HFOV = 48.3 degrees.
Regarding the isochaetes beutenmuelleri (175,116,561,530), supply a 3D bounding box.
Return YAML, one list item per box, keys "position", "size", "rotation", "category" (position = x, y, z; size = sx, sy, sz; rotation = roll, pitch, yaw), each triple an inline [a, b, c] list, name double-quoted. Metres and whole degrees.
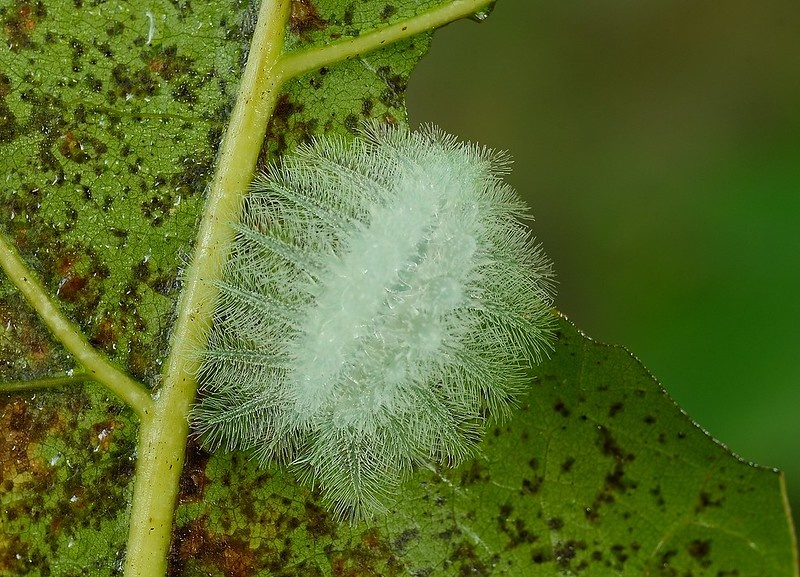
- position: [-0.139, 0.169, 4.980]
  size: [1.883, 2.137, 0.546]
  rotation: [-1, -13, 0]
  category: "isochaetes beutenmuelleri"
